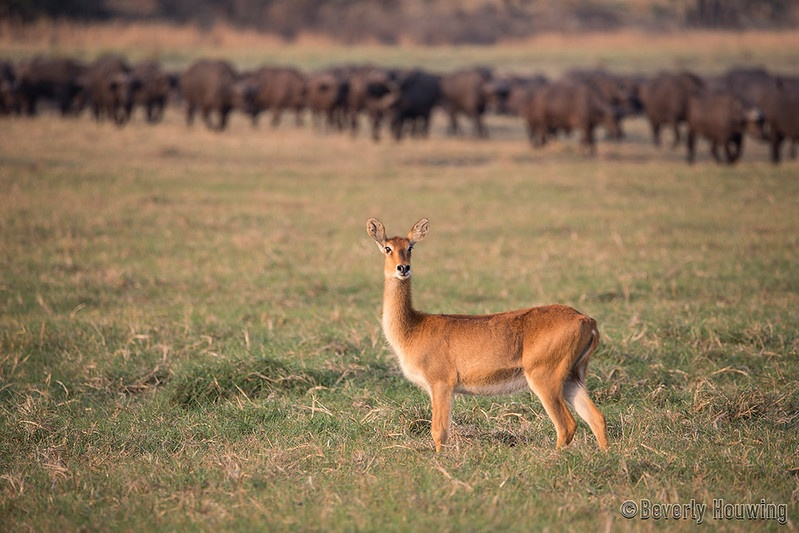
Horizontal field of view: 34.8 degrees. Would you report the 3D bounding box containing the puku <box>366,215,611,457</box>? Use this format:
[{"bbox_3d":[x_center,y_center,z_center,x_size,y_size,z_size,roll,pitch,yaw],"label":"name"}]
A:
[{"bbox_3d":[0.986,1.104,17.887,3.418,3.032,1.222,2,-2,23],"label":"puku"}]
